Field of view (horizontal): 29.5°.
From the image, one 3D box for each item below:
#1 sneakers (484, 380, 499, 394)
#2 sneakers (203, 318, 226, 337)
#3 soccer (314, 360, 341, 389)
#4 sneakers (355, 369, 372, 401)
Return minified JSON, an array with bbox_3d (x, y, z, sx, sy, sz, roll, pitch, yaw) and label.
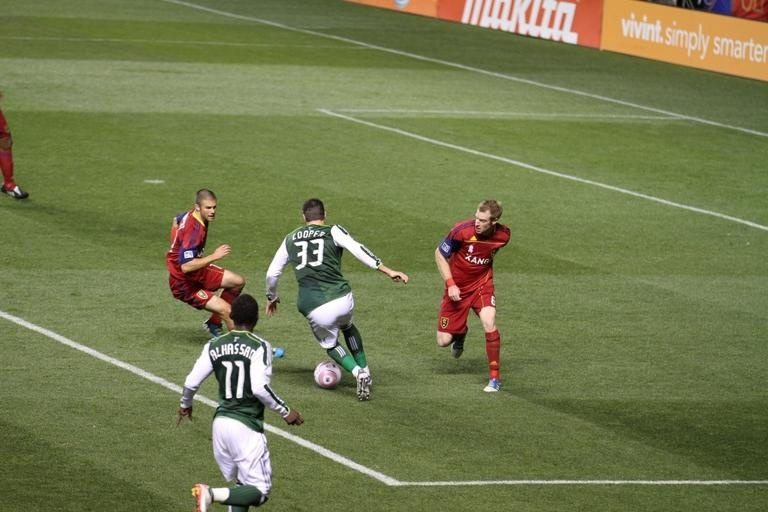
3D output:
[{"bbox_3d":[1.552,1.942,21.253,0.138,0.105,0.266,-1,-2,37],"label":"sneakers"},{"bbox_3d":[-2.593,1.105,22.063,0.214,0.217,0.317,24,17,-45],"label":"sneakers"},{"bbox_3d":[-0.810,1.750,21.047,0.428,0.363,0.391,5,-6,15],"label":"soccer"},{"bbox_3d":[-0.308,1.869,20.820,0.204,0.455,0.231,-1,21,-4],"label":"sneakers"}]
